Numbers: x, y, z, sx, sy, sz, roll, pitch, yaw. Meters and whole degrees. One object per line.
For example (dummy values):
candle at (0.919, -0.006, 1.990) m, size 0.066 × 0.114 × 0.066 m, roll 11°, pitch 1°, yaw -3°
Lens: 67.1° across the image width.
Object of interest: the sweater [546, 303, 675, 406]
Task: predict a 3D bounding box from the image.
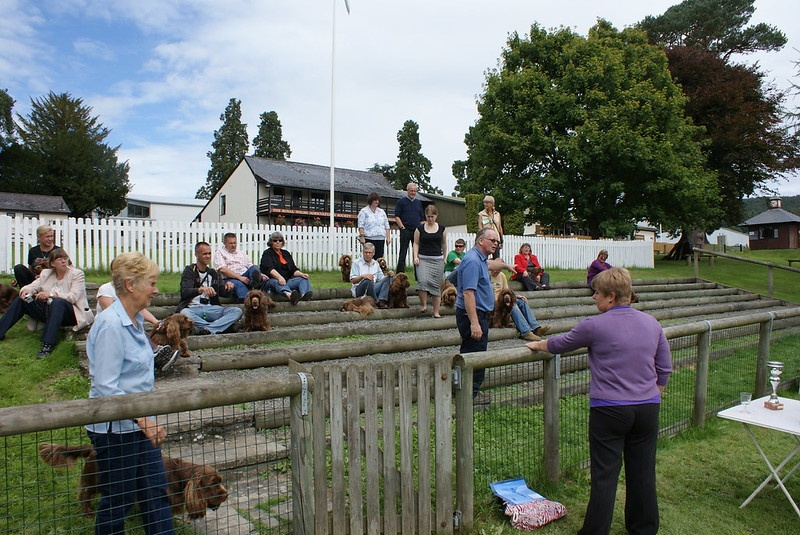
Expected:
sweater at (2.373, 0.854, 6.968) m, size 1.003 × 1.003 × 1.081 m, roll 0°, pitch 11°, yaw -13°

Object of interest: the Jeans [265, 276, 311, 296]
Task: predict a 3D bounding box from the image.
Jeans at (-2.203, 0.388, 12.185) m, size 0.424 × 0.228 × 0.581 m, roll 8°, pitch 10°, yaw -45°

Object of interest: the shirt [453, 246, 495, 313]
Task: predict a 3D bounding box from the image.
shirt at (1.073, 0.167, 8.683) m, size 0.643 × 1.148 × 1.185 m, roll 0°, pitch 1°, yaw 16°

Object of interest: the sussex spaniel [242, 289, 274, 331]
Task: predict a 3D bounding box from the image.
sussex spaniel at (-2.510, 0.761, 10.656) m, size 0.544 × 0.705 × 0.454 m, roll -2°, pitch 4°, yaw -17°

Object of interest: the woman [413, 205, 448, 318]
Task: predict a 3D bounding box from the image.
woman at (0.590, -0.112, 11.828) m, size 0.669 × 2.142 × 0.523 m, roll -3°, pitch 5°, yaw -20°

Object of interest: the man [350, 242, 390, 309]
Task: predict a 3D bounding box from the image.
man at (-0.599, 0.158, 12.896) m, size 0.841 × 1.379 × 0.801 m, roll -3°, pitch 3°, yaw 27°

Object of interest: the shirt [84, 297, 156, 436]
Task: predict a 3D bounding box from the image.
shirt at (-2.845, 0.949, 6.229) m, size 0.522 × 1.212 × 1.055 m, roll 0°, pitch 0°, yaw -6°

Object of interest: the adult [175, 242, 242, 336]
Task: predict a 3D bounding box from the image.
adult at (-3.436, 0.394, 10.543) m, size 0.938 × 1.711 × 1.009 m, roll 1°, pitch -3°, yaw 26°

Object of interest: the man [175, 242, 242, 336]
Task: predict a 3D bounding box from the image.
man at (-3.336, 0.407, 10.588) m, size 0.996 × 1.713 × 1.004 m, roll 2°, pitch -4°, yaw -7°

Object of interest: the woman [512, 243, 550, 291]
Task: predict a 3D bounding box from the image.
woman at (3.644, -0.007, 16.631) m, size 0.754 × 1.375 × 1.099 m, roll -3°, pitch 5°, yaw -19°

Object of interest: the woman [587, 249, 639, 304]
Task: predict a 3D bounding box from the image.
woman at (5.582, 0.155, 16.108) m, size 0.510 × 1.272 × 1.204 m, roll 11°, pitch -8°, yaw -26°

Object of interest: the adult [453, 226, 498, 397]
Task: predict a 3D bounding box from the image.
adult at (1.092, 0.671, 8.581) m, size 0.537 × 2.463 × 0.828 m, roll 3°, pitch 8°, yaw 19°

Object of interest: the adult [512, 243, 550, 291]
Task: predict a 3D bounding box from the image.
adult at (3.653, -0.007, 16.622) m, size 0.727 × 1.377 × 1.119 m, roll -4°, pitch 5°, yaw -22°

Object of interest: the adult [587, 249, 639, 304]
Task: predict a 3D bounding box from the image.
adult at (5.567, 0.147, 16.068) m, size 0.516 × 1.265 × 1.209 m, roll 11°, pitch -9°, yaw -23°

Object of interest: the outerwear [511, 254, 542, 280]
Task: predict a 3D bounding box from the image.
outerwear at (3.457, -0.007, 16.471) m, size 0.724 × 0.811 × 0.427 m, roll 2°, pitch -6°, yaw -28°

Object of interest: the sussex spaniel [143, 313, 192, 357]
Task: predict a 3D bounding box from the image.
sussex spaniel at (-3.471, 1.054, 9.212) m, size 0.650 × 0.486 × 0.523 m, roll -18°, pitch 6°, yaw -14°

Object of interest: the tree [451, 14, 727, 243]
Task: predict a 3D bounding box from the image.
tree at (9.131, -6.247, 31.073) m, size 12.200 × 11.934 × 12.458 m, roll 3°, pitch 4°, yaw 40°

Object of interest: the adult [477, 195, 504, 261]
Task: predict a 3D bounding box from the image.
adult at (2.035, -0.575, 13.484) m, size 0.561 × 1.971 × 0.474 m, roll 0°, pitch -3°, yaw -11°

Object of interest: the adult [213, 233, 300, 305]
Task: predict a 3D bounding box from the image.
adult at (-2.903, 0.088, 11.555) m, size 0.843 × 1.214 × 1.895 m, roll -5°, pitch 18°, yaw -40°

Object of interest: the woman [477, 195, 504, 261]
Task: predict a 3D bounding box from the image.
woman at (2.042, -0.588, 13.455) m, size 0.549 × 2.011 × 0.506 m, roll 0°, pitch -4°, yaw -9°

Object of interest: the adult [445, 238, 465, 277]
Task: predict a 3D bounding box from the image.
adult at (1.362, -0.204, 14.201) m, size 0.432 × 0.944 × 0.539 m, roll 9°, pitch 14°, yaw -9°

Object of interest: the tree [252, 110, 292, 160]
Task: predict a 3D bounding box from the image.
tree at (-12.236, -12.537, 57.367) m, size 2.818 × 4.556 × 1.967 m, roll -1°, pitch 4°, yaw -10°

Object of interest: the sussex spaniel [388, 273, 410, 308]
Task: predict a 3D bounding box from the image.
sussex spaniel at (0.005, 0.482, 12.767) m, size 0.591 × 0.707 × 0.447 m, roll -3°, pitch 5°, yaw -31°

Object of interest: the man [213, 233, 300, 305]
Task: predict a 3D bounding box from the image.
man at (-2.885, 0.081, 11.570) m, size 0.845 × 1.282 × 1.947 m, roll -4°, pitch 16°, yaw -42°

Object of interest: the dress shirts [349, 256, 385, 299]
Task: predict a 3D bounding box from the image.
dress shirts at (-0.585, 0.286, 12.932) m, size 0.833 × 1.109 × 0.839 m, roll -5°, pitch -6°, yaw 6°

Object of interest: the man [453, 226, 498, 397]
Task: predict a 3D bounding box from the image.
man at (1.085, 0.639, 8.573) m, size 0.558 × 2.392 × 0.830 m, roll 1°, pitch 10°, yaw 8°

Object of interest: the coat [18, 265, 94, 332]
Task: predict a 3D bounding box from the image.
coat at (-5.547, 0.509, 9.758) m, size 0.828 × 1.013 × 0.946 m, roll 2°, pitch 3°, yaw -19°

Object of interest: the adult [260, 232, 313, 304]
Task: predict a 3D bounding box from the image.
adult at (-2.280, -0.029, 12.208) m, size 1.256 × 1.422 × 0.877 m, roll 5°, pitch 6°, yaw 39°

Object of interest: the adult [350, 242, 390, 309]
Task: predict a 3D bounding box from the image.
adult at (-0.602, 0.165, 12.916) m, size 0.857 × 1.400 × 0.777 m, roll -3°, pitch 2°, yaw 28°
